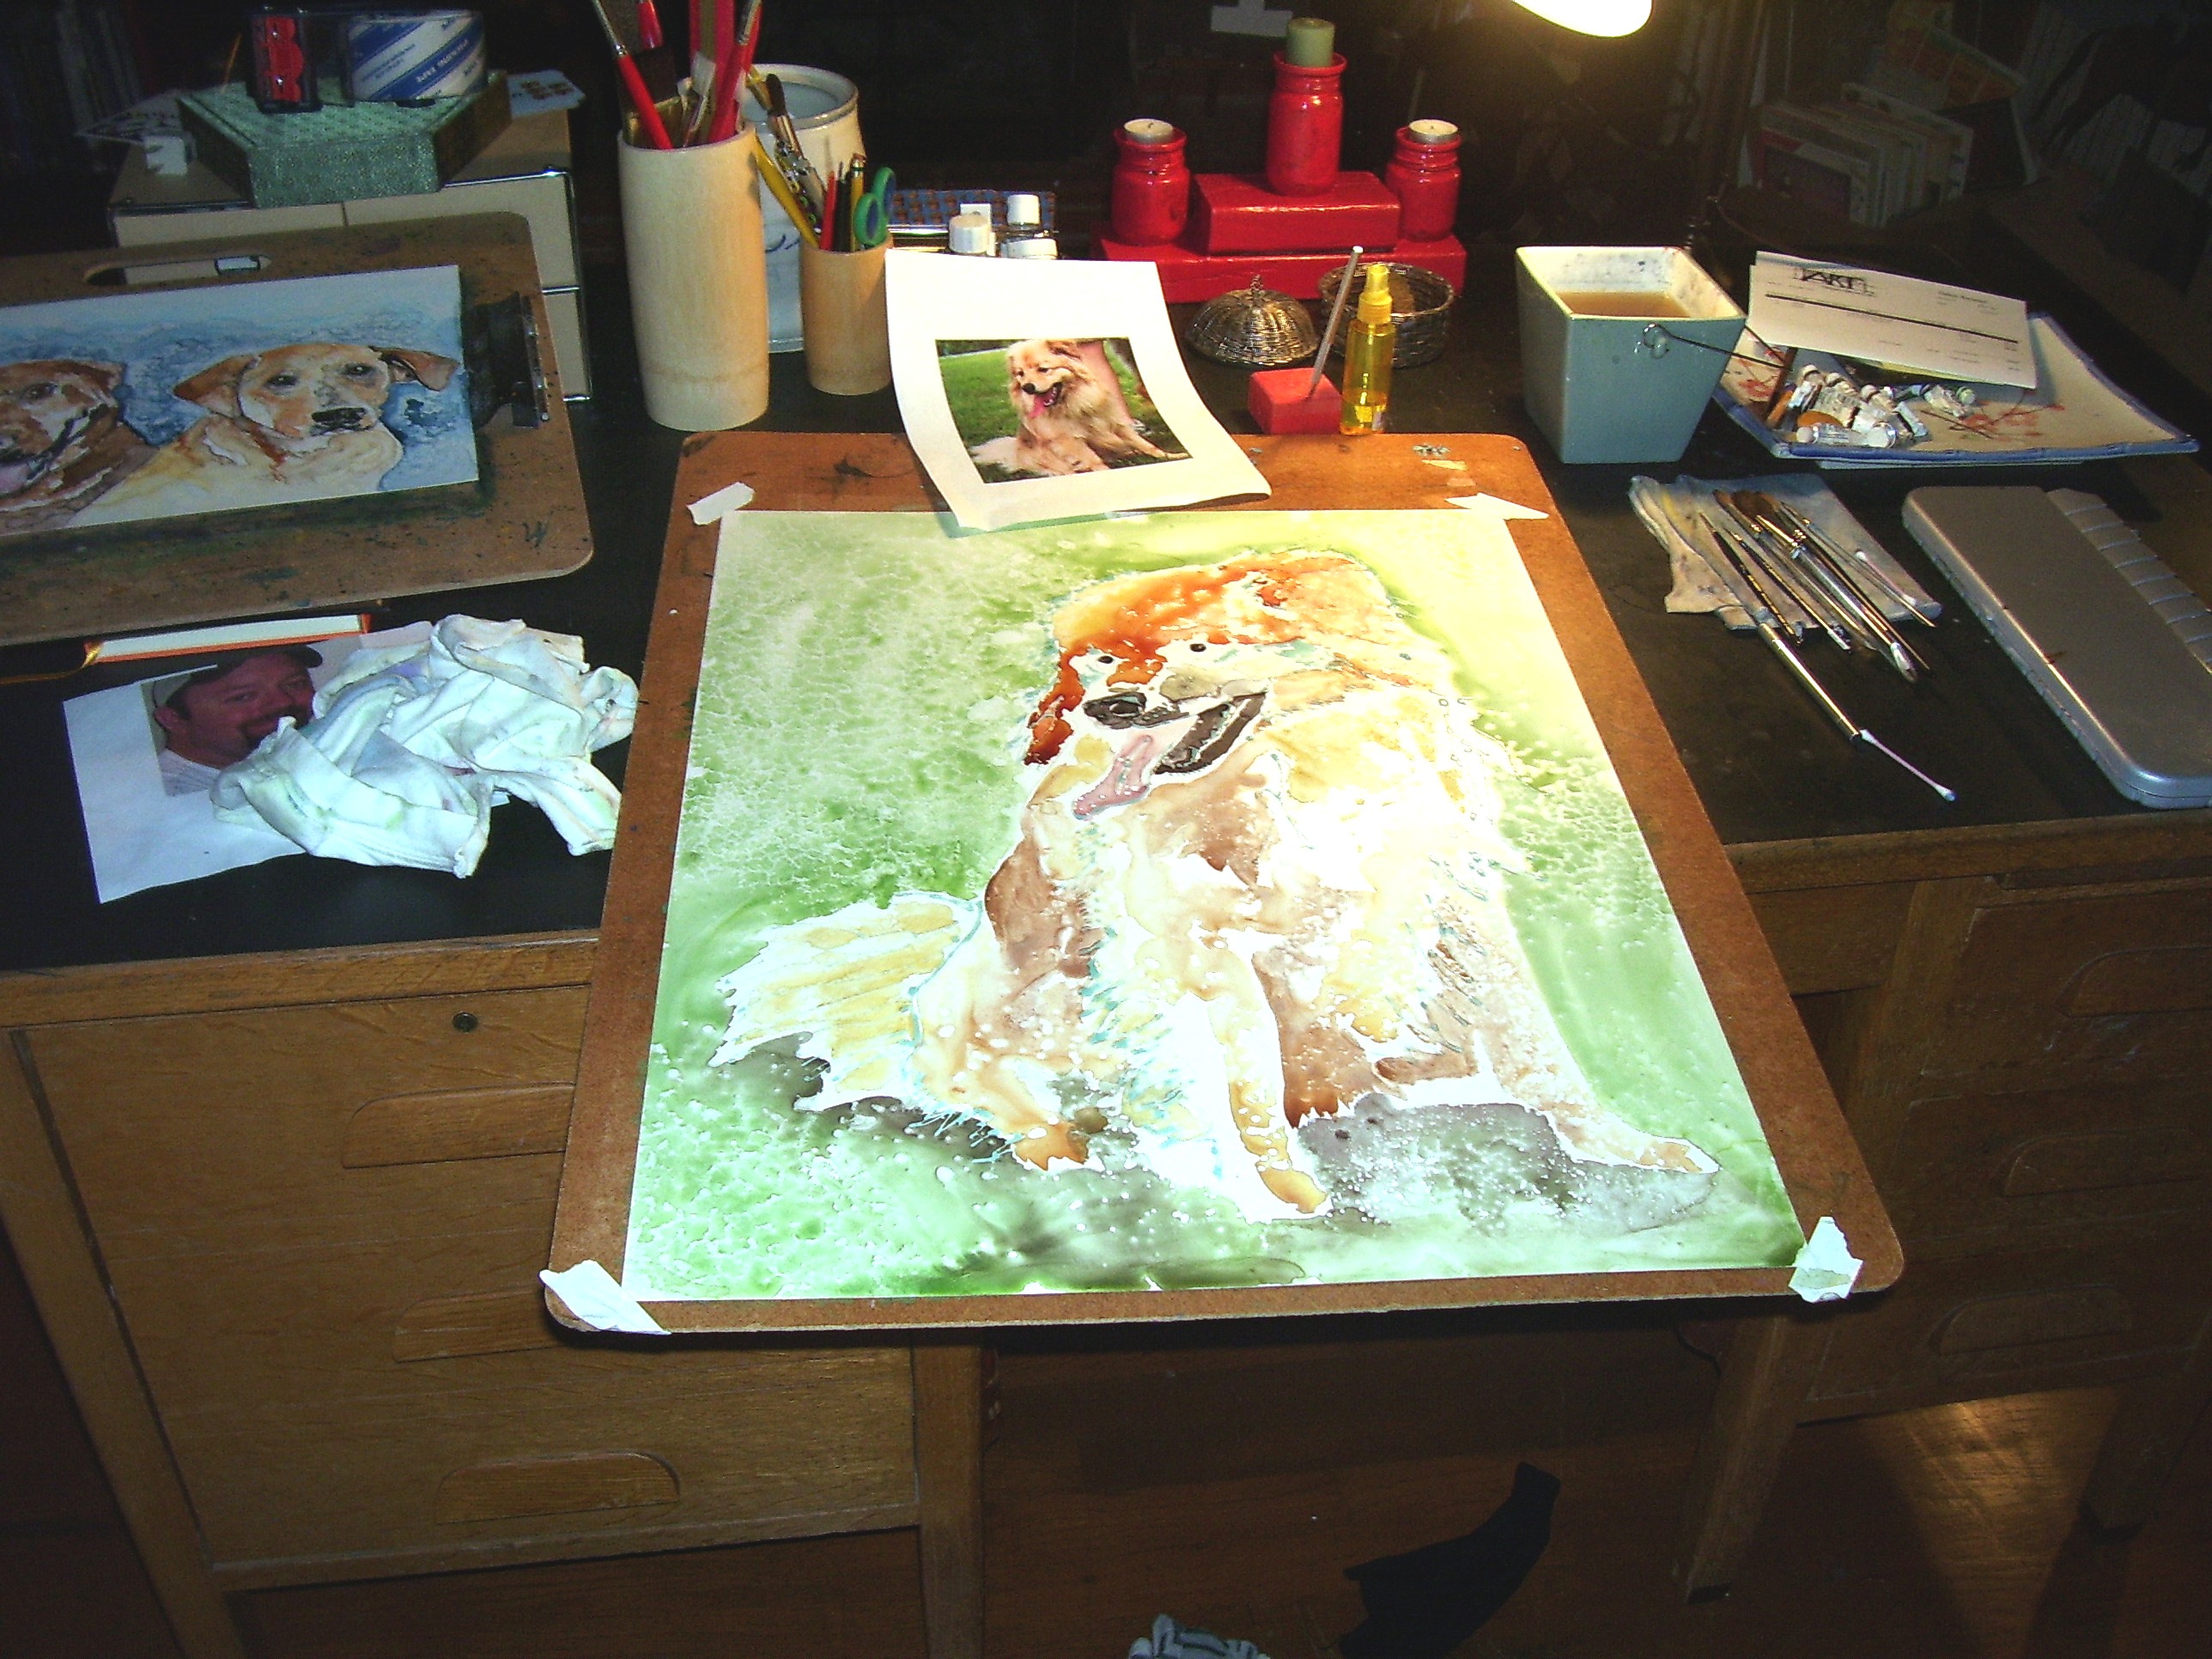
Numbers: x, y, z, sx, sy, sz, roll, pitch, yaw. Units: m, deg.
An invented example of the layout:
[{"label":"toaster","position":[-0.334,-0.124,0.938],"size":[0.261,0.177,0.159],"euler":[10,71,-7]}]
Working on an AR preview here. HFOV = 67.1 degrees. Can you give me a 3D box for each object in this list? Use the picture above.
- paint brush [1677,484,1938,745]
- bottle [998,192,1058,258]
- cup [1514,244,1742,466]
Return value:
[{"label":"paint brush","position":[0.595,-0.188,1.404],"size":[0.121,0.026,0.260],"euler":[-24,45,-5]},{"label":"bottle","position":[-0.083,-0.581,1.616],"size":[0.065,0.019,0.072],"euler":[-4,77,-2]},{"label":"cup","position":[0.425,-0.423,1.559],"size":[0.231,0.172,0.258],"euler":[1,42,1]}]
